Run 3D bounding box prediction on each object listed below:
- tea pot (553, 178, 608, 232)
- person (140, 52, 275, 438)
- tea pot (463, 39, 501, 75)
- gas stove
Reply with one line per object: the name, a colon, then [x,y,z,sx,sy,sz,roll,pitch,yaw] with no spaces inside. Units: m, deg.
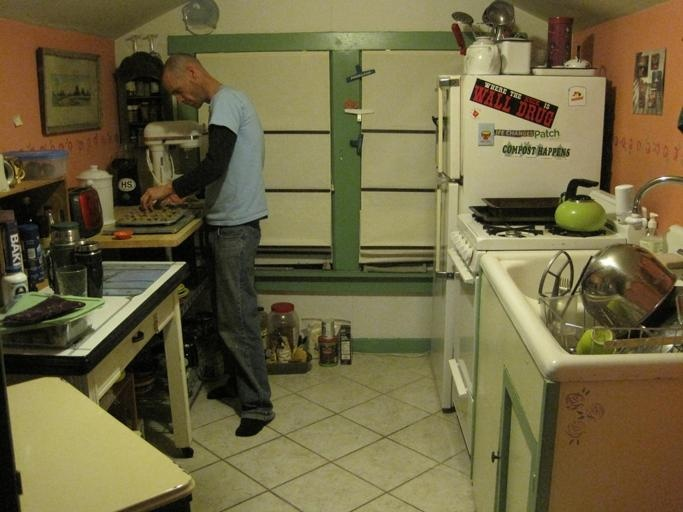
tea pot: [1.048,-0.208,2.655,0.199,0.252,0.207,4,16,-1]
person: [-0.740,-0.069,3.323,0.604,2.003,0.720,3,14,-9]
tea pot: [0.720,-1.028,3.111,0.189,0.187,0.207,-2,15,1]
gas stove: [0.917,-0.160,2.754,0.713,0.175,0.622,-2,16,2]
